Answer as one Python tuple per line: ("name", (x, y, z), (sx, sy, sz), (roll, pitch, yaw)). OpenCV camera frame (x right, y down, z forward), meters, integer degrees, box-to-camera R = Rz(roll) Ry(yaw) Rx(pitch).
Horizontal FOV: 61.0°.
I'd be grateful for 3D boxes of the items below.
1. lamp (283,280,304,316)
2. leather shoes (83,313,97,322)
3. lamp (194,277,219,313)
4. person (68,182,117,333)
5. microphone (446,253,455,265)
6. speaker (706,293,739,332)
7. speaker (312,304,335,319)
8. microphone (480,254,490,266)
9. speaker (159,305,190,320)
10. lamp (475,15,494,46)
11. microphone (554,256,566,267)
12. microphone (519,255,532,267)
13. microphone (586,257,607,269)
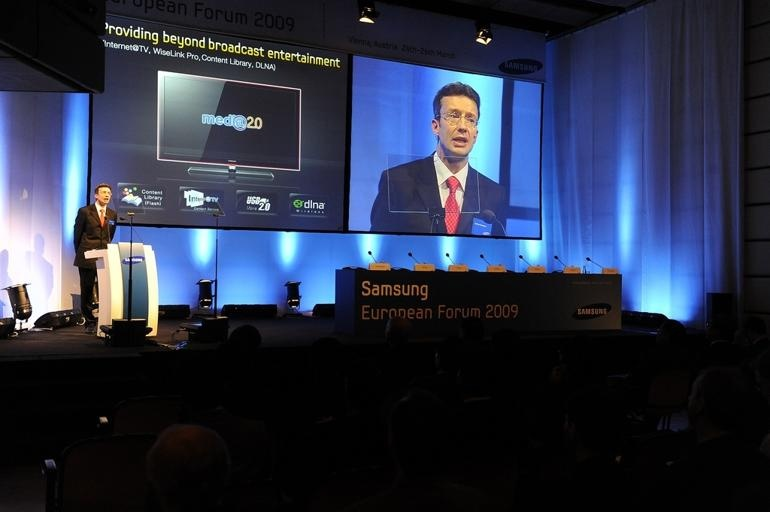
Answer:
("lamp", (-1.353, 0.610, 9.782), (0.251, 0.464, 0.646), (-2, 2, -9))
("leather shoes", (-3.668, 0.782, 8.198), (0.150, 0.153, 0.148), (2, 0, -4))
("lamp", (-2.543, 0.509, 9.400), (0.461, 0.523, 0.412), (-5, 2, -37))
("person", (-3.638, 0.010, 8.206), (0.491, 1.196, 0.453), (-2, 2, -16))
("microphone", (1.061, 0.041, 10.566), (0.066, 0.088, 0.256), (-21, 28, -7))
("speaker", (4.114, 0.703, 8.029), (0.345, 0.408, 1.464), (-1, 2, 28))
("speaker", (-0.890, 0.797, 9.531), (0.261, 0.170, 0.253), (1, -4, -14))
("microphone", (1.676, 0.055, 10.983), (0.070, 0.281, 0.091), (-38, -1, -2))
("speaker", (-2.903, 0.776, 9.038), (0.397, 0.187, 0.156), (-1, -3, -24))
("lamp", (1.542, -3.476, 10.165), (0.273, 0.333, 0.538), (-1, 2, 9))
("microphone", (2.824, 0.084, 10.786), (0.244, 0.201, 0.241), (-3, 2, -38))
("microphone", (2.376, 0.070, 11.110), (0.180, 0.192, 0.351), (-1, 2, 24))
("microphone", (3.302, 0.105, 10.168), (0.342, 0.060, 0.063), (23, -14, -27))
